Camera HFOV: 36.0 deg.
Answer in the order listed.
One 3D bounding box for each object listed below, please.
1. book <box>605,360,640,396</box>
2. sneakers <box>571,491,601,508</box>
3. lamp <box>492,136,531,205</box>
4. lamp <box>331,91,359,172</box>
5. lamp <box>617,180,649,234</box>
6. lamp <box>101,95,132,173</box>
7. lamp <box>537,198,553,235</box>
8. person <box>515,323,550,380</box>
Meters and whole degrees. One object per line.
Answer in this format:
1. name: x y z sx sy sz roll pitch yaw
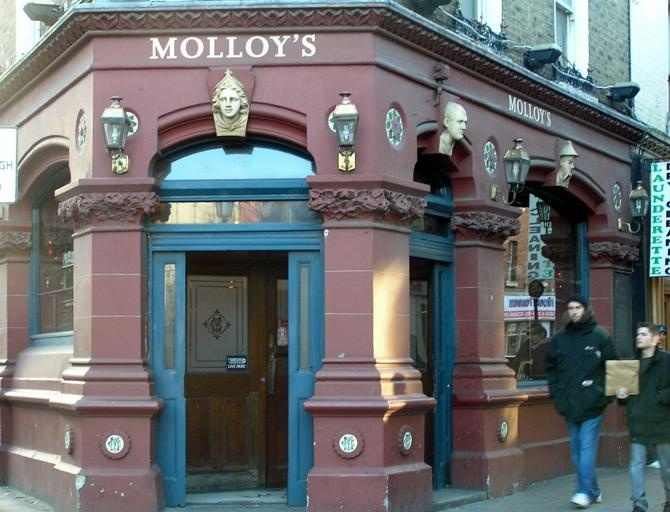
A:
1. book: 3.484 1.487 12.460 0.366 0.430 0.057 3 1 24
2. sneakers: 3.182 3.104 13.108 0.202 0.282 0.602 -9 -20 42
3. lamp: 2.575 -1.206 14.765 0.435 0.908 0.440 -5 9 -39
4. lamp: 0.111 -1.533 12.706 0.376 0.995 0.401 -2 -8 0
5. lamp: 5.152 -0.852 17.732 0.442 0.987 0.937 -6 -9 28
6. lamp: -2.701 -1.510 12.744 0.328 0.965 0.434 -1 -8 -6
7. lamp: 3.416 -0.653 17.025 0.403 0.690 0.469 0 2 13
8. person: 2.969 1.502 15.680 0.640 0.855 0.311 10 6 -25
